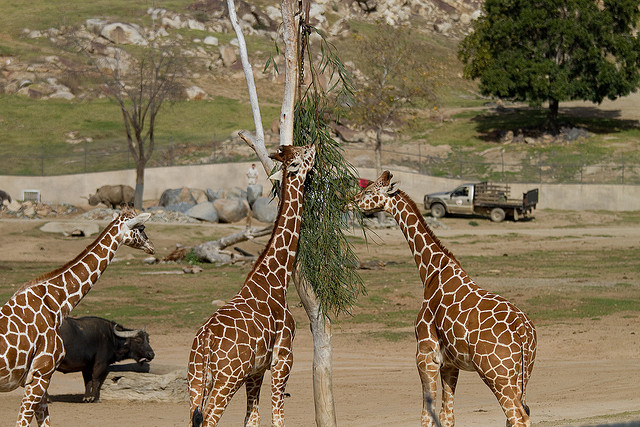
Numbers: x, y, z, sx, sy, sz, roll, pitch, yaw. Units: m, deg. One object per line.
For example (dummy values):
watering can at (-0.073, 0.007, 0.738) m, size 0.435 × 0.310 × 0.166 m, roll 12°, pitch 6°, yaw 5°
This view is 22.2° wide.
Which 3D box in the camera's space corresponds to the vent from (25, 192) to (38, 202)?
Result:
vent at (-28.440, -1.582, 160.758) m, size 1.021 × 0.906 × 0.143 m, roll 0°, pitch -6°, yaw -2°

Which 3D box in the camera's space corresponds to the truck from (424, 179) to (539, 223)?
truck at (15.998, -0.989, 160.653) m, size 9.580 × 3.647 × 4.729 m, roll 3°, pitch 1°, yaw 10°
